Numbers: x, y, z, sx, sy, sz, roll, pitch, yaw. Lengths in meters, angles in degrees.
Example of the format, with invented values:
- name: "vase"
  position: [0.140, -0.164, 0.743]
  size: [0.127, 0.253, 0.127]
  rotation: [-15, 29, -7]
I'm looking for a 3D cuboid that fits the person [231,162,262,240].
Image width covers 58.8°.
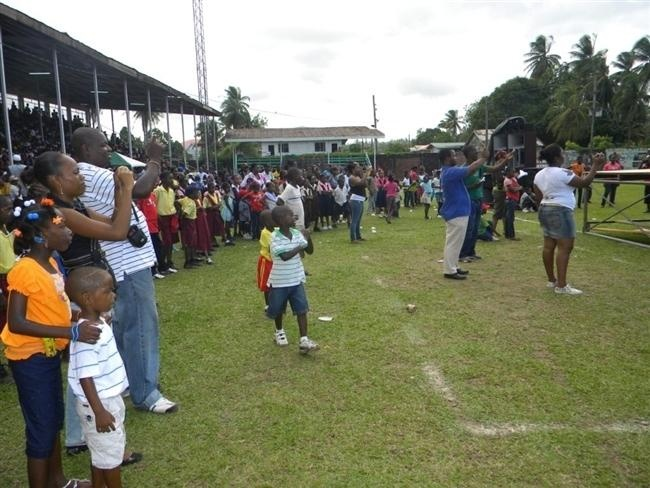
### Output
- name: "person"
  position: [-1.738, -0.839, 13.670]
  size: [0.624, 1.500, 2.058]
  rotation: [-4, 9, -8]

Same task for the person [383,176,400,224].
- name: "person"
  position: [1.977, -1.334, 16.850]
  size: [0.594, 1.370, 0.551]
  rotation: [-6, 12, -39]

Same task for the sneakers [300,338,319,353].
- name: "sneakers"
  position: [-0.184, 1.115, 6.342]
  size: [0.266, 0.174, 0.105]
  rotation: [-11, -11, 26]

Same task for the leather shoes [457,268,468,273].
- name: "leather shoes"
  position: [2.190, 0.431, 9.143]
  size: [0.232, 0.089, 0.076]
  rotation: [1, 8, -10]

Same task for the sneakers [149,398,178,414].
- name: "sneakers"
  position: [-1.485, 1.512, 5.403]
  size: [0.213, 0.082, 0.117]
  rotation: [0, 4, 18]

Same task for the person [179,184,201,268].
- name: "person"
  position: [-2.503, -0.323, 10.699]
  size: [0.338, 1.445, 0.606]
  rotation: [-4, 10, -5]

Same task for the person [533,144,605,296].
- name: "person"
  position: [3.313, -0.360, 8.053]
  size: [0.555, 2.026, 0.830]
  rotation: [-8, 11, -27]

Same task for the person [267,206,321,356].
- name: "person"
  position: [-0.391, 0.377, 6.562]
  size: [0.525, 1.598, 0.770]
  rotation: [-3, 10, -1]

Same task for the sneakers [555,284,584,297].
- name: "sneakers"
  position: [3.326, 0.651, 7.917]
  size: [0.367, 0.140, 0.134]
  rotation: [-1, 8, 10]

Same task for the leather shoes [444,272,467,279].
- name: "leather shoes"
  position: [2.017, 0.511, 8.968]
  size: [0.338, 0.129, 0.121]
  rotation: [-2, 2, 9]

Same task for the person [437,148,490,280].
- name: "person"
  position: [2.188, -0.499, 9.250]
  size: [0.642, 1.970, 1.080]
  rotation: [-1, 10, 11]
